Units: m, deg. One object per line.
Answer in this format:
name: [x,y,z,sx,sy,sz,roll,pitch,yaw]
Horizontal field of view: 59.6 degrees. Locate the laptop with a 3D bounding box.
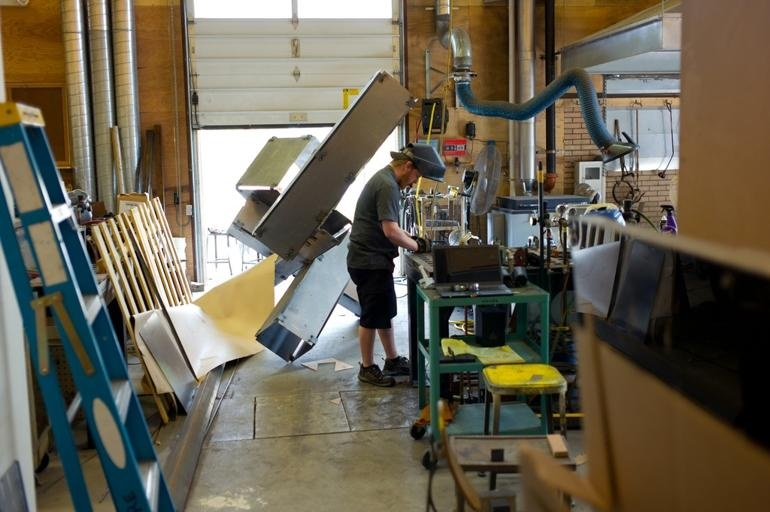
laptop: [0.453,0.071,3.520,0.431,0.243,0.365,-1,6,11]

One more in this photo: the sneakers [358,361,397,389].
sneakers: [-0.065,0.815,4.599,0.287,0.135,0.109,4,5,23]

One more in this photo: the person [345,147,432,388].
person: [0.025,0.073,4.442,0.518,1.607,0.572,-5,11,-33]

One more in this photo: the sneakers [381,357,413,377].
sneakers: [0.089,0.770,4.659,0.210,0.094,0.100,-4,8,-18]

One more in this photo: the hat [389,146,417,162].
hat: [0.113,-0.650,4.254,0.133,0.082,0.087,-1,7,0]

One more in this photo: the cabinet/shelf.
cabinet/shelf: [0.484,0.594,3.741,0.739,0.845,0.755,-1,3,-2]

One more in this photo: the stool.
stool: [0.596,0.782,3.252,0.486,0.494,0.470,-2,7,0]
